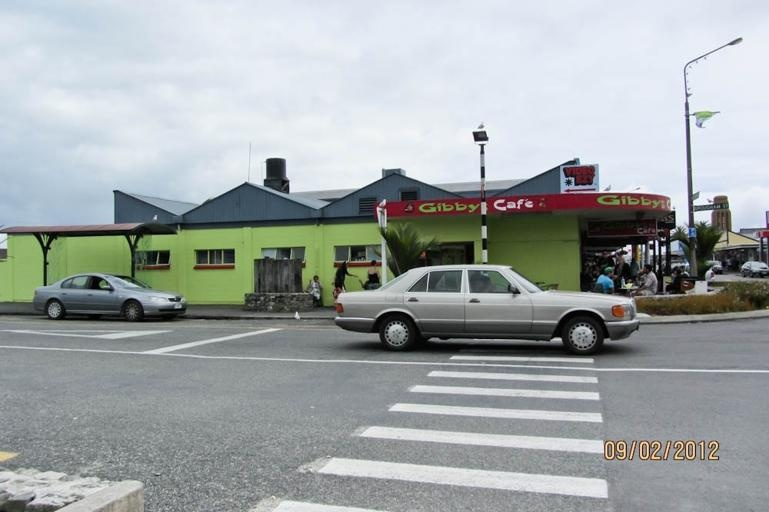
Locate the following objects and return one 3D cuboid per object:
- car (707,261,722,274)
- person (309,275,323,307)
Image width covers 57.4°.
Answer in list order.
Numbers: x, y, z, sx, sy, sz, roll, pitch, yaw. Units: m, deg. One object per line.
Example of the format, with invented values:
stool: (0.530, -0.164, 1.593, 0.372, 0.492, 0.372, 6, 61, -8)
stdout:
car: (26.812, 0.993, 56.980, 1.075, 0.838, 2.164, -2, -8, 16)
person: (-2.888, 1.512, 29.247, 0.536, 1.250, 1.060, -1, 4, -1)
